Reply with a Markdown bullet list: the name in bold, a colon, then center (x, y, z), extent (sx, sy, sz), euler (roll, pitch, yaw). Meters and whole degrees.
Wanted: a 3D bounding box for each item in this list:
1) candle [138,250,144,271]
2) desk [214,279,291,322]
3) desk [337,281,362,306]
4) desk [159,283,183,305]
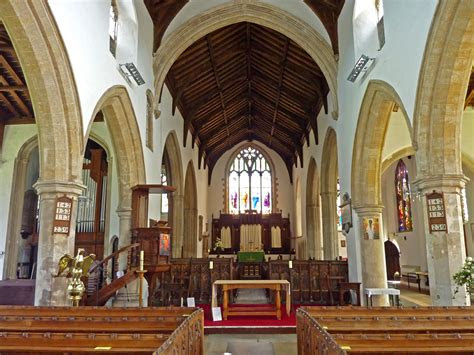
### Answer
- **candle**: center (-1.861, 1.642, 6.903), extent (0.069, 0.366, 0.536), euler (2, -15, -16)
- **desk**: center (0.328, 2.782, 8.101), extent (1.667, 0.924, 0.824), euler (1, -7, -4)
- **desk**: center (2.840, 2.948, 8.840), extent (0.701, 0.589, 0.727), euler (5, -17, -19)
- **desk**: center (-1.773, 3.268, 9.725), extent (0.513, 0.554, 0.535), euler (6, -18, 1)
